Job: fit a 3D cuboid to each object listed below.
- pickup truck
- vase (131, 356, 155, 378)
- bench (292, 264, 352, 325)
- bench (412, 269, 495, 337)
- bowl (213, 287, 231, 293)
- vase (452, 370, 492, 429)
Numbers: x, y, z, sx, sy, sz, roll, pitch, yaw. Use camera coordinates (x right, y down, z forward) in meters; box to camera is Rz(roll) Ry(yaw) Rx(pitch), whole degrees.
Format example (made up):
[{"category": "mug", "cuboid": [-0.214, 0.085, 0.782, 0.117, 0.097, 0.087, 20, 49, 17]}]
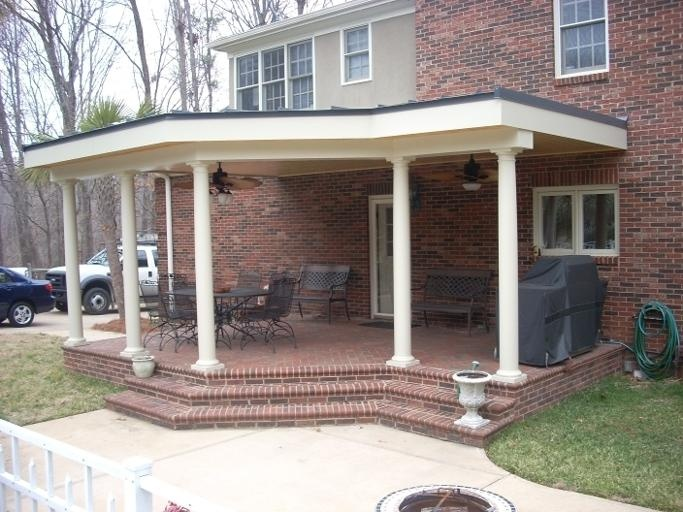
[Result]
[{"category": "pickup truck", "cuboid": [-7.518, 0.663, 19.375, 2.596, 1.863, 4.612, 3, 2, 23]}, {"category": "vase", "cuboid": [-3.062, 1.687, 9.239, 0.372, 0.232, 0.349, -1, -5, 0]}, {"category": "bench", "cuboid": [-0.598, 0.778, 13.206, 0.716, 1.064, 1.694, -11, 8, -41]}, {"category": "bench", "cuboid": [1.987, 0.800, 11.405, 0.704, 0.971, 1.601, -14, 8, -40]}, {"category": "bowl", "cuboid": [-2.100, 0.576, 10.487, 0.277, 0.063, 0.259, -3, 9, 0]}, {"category": "vase", "cuboid": [1.620, 1.830, 7.662, 0.519, 0.538, 0.517, -11, -9, 34]}]
